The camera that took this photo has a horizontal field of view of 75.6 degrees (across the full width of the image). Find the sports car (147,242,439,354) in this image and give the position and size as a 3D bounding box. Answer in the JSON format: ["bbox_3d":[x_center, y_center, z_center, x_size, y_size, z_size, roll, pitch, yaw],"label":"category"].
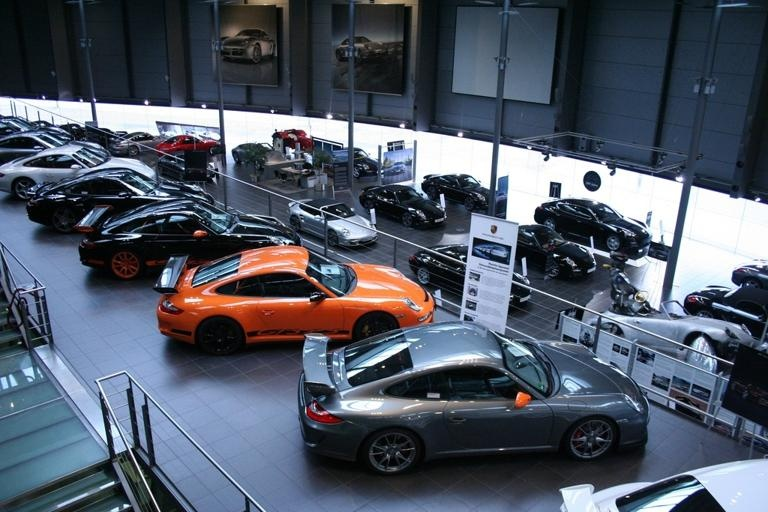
[{"bbox_3d":[-1.885,0.805,11.117,6.161,1.277,2.243,2,25,-2],"label":"sports car"}]

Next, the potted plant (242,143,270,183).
[{"bbox_3d":[-7.467,-5.473,28.865,1.254,2.070,2.761,-2,19,-14],"label":"potted plant"}]

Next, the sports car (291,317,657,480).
[{"bbox_3d":[1.328,2.417,8.418,5.490,1.992,1.482,0,21,-5],"label":"sports car"}]

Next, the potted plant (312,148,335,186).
[{"bbox_3d":[-3.627,-5.081,28.455,1.058,1.965,1.044,10,23,15],"label":"potted plant"}]
